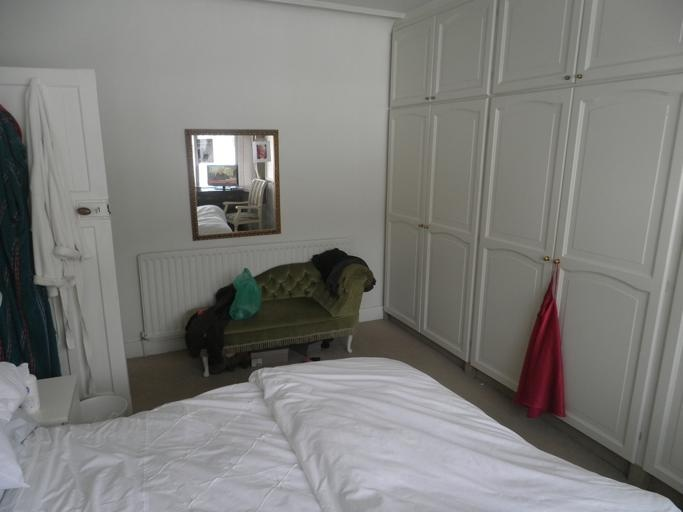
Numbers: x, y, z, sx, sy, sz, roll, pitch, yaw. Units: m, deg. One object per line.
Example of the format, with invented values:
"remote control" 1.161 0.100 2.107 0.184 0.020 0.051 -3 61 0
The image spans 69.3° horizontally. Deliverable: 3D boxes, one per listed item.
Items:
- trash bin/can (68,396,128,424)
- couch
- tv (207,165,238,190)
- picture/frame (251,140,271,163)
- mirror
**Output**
"trash bin/can" -1.643 1.033 3.338 0.319 0.247 0.276 2 7 -17
"couch" -0.545 0.556 4.497 1.853 0.973 0.978 -8 18 -23
"tv" -1.139 -0.747 4.663 0.224 0.195 0.044 -3 12 -22
"picture/frame" -0.791 -1.017 4.782 0.198 0.227 0.012 -7 13 -28
"mirror" -1.021 -0.688 4.737 0.921 1.102 0.031 -9 18 -35
